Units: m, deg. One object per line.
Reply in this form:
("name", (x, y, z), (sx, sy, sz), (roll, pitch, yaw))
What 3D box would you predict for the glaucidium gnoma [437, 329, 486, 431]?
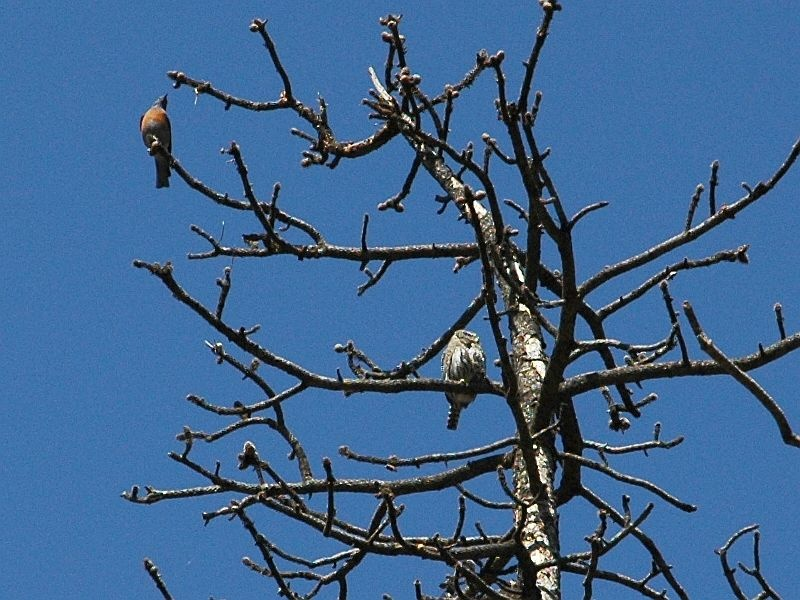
("glaucidium gnoma", (0.545, 0.658, 16.476), (0.303, 0.460, 1.121), (4, -56, -4))
